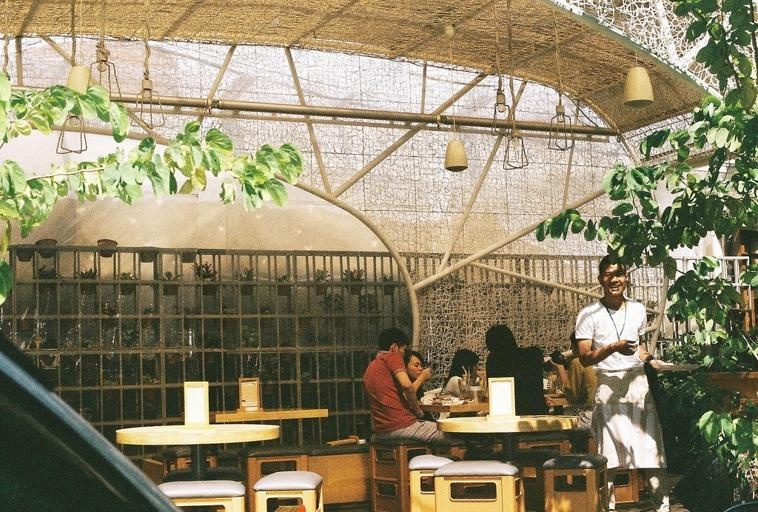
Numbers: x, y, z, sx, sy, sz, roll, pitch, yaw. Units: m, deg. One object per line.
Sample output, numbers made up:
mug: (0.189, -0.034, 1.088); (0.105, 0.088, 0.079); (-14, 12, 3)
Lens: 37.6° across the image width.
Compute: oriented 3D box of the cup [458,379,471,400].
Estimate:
cup: (0.928, 1.458, 12.185); (0.149, 0.251, 0.147); (-1, -2, 0)

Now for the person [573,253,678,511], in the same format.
person: (2.151, 1.157, 10.119); (0.683, 2.297, 0.891); (-5, -10, 20)

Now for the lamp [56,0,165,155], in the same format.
lamp: (-2.973, -2.084, 12.260); (1.259, 1.483, 2.351); (1, -10, -12)

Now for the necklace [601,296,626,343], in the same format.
necklace: (2.111, 0.584, 10.135); (0.064, 0.278, 0.149); (-13, -14, -33)

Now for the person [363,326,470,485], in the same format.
person: (0.226, 1.364, 11.631); (0.773, 1.295, 0.649); (1, -10, -13)

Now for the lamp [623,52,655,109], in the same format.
lamp: (2.826, -1.909, 12.280); (0.289, 0.477, 0.300); (-5, -10, 20)
